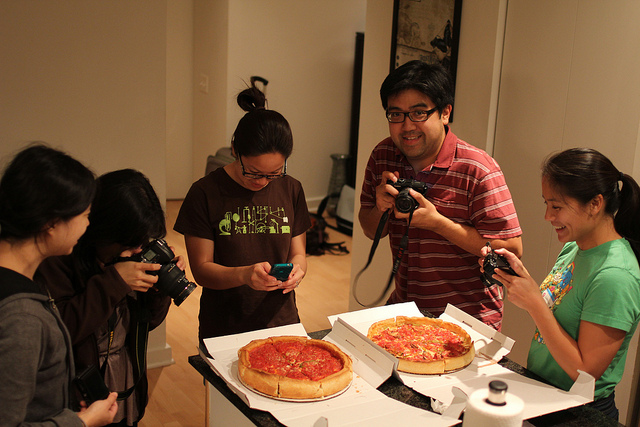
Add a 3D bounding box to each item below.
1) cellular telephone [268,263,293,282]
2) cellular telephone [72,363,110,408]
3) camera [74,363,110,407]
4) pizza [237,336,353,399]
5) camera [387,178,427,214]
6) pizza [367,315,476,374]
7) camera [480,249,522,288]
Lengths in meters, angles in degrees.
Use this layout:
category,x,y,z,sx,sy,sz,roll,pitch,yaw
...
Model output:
category,x,y,z,sx,sy,sz,roll,pitch,yaw
cellular telephone,-0.161,0.248,1.945,0.101,0.090,0.059,-7,11,-2
cellular telephone,-0.792,0.596,1.646,0.033,0.148,0.101,-8,30,25
camera,-0.800,0.608,1.659,0.034,0.156,0.107,-4,29,25
pizza,-0.106,0.572,1.775,0.416,0.094,0.441,6,4,18
camera,0.377,-0.099,2.088,0.180,0.128,0.136,11,34,25
pizza,0.402,0.517,1.878,0.230,0.050,0.227,10,20,26
camera,0.675,0.202,1.801,0.056,0.123,0.123,-46,-1,-34
